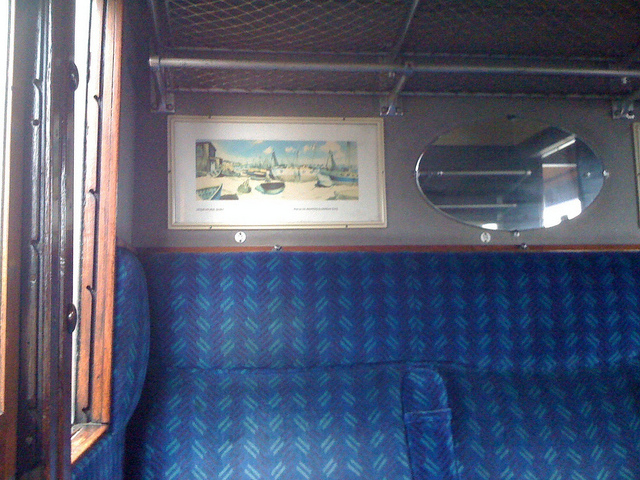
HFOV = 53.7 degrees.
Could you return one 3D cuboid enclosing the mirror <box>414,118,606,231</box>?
[{"bbox_3d":[1.043,-0.353,3.524,1.033,0.673,0.156,0,-11,7],"label":"mirror"}]
